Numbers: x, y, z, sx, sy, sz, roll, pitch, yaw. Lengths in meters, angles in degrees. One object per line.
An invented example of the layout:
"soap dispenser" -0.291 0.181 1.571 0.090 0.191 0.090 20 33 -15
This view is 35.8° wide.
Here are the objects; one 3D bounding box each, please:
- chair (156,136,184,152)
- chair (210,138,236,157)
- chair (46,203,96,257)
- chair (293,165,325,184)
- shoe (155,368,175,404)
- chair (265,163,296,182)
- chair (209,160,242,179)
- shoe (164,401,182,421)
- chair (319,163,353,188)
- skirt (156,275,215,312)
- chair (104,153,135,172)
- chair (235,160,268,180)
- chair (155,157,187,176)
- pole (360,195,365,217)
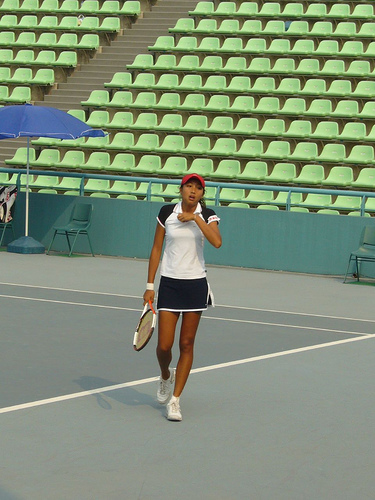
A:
"chair" -0.408 -2.747 15.061 0.555 0.308 0.510 4 13 17
"chair" 0.930 -2.634 14.818 0.643 0.475 0.505 8 20 6
"chair" -2.661 -0.477 13.297 0.909 1.112 0.872 -6 12 -44
"chair" 2.934 -1.778 13.722 0.578 0.360 0.562 10 25 23
"shoe" -0.162 0.942 4.051 0.094 0.250 0.111 1 -19 11
"chair" 2.259 -1.846 13.894 0.646 0.426 0.492 4 12 9
"chair" 0.985 -1.981 14.263 0.601 0.333 0.570 5 11 21
"shoe" -0.080 1.013 3.642 0.099 0.109 0.093 4 12 6
"chair" 3.551 -1.715 13.567 0.690 0.424 0.670 8 19 23
"skirt" -0.006 0.295 3.786 0.459 0.274 0.219 0 -4 -5
"chair" -1.699 -2.279 15.108 0.613 0.325 0.587 4 11 17
"chair" 1.603 -1.934 14.196 0.723 0.448 0.942 4 12 9
"chair" -0.309 -2.113 14.654 0.601 0.349 0.582 3 6 18
"pole" 3.607 -0.905 11.872 0.107 0.449 0.606 6 12 16
